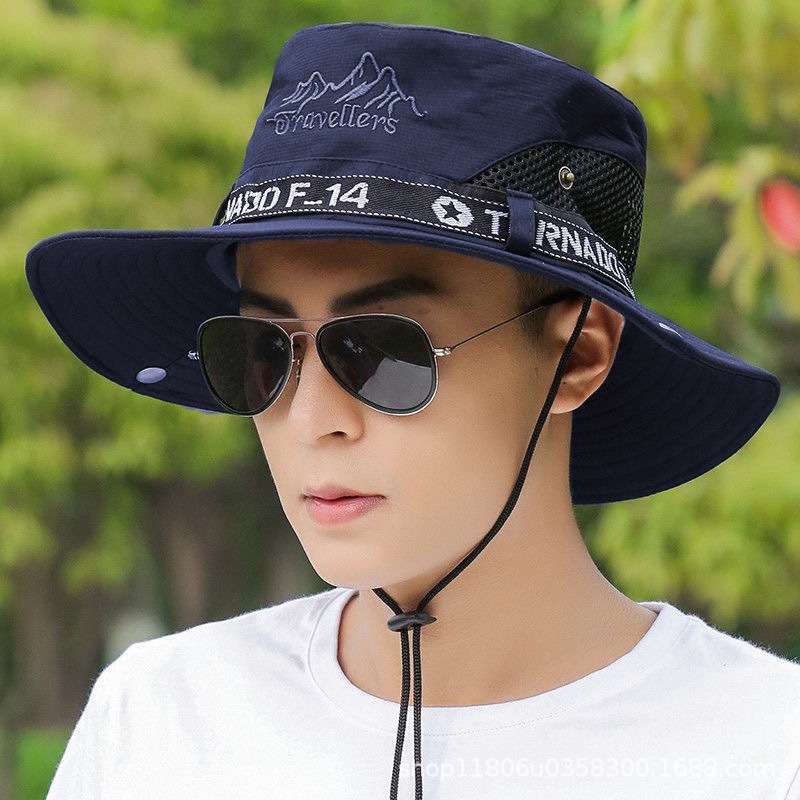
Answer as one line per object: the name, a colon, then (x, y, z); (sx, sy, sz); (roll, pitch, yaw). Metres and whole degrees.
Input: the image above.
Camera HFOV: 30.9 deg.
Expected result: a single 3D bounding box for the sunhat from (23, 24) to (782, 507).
sunhat: (0.137, -0.373, 3.213); (1.417, 0.579, 1.242); (16, -11, -14)
